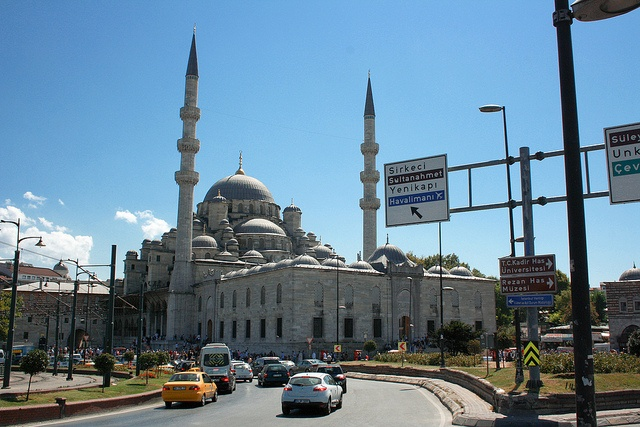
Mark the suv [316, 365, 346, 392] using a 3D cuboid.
[{"bbox_3d":[0.983,10.175,43.599,1.146,1.088,2.444,-2,-26,4],"label":"suv"}]

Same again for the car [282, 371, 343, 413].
[{"bbox_3d":[-0.316,9.717,37.935,2.749,2.281,5.458,-1,-9,9],"label":"car"}]

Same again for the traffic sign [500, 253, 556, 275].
[{"bbox_3d":[9.857,2.419,32.548,2.502,1.142,0.346,-5,-5,22],"label":"traffic sign"}]

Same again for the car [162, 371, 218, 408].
[{"bbox_3d":[-7.445,10.180,40.761,2.334,1.818,5.455,0,-10,5],"label":"car"}]
